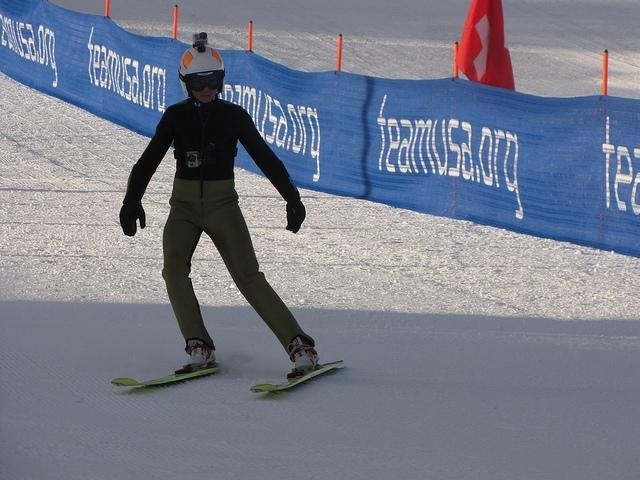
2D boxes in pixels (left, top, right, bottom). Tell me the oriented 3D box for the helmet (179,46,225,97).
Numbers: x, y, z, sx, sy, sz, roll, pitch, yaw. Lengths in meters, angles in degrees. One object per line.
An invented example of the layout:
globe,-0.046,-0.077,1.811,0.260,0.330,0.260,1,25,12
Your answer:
helmet,-0.905,-1.296,9.010,0.391,0.332,0.421,-3,22,-5

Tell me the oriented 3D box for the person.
person,-0.775,-0.252,8.942,1.444,2.556,0.912,-1,16,3

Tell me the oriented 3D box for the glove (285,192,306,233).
glove,-0.195,-0.195,9.097,0.186,0.244,0.106,2,18,0

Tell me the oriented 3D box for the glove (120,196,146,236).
glove,-1.422,-0.157,8.983,0.174,0.294,0.268,-3,15,-6
